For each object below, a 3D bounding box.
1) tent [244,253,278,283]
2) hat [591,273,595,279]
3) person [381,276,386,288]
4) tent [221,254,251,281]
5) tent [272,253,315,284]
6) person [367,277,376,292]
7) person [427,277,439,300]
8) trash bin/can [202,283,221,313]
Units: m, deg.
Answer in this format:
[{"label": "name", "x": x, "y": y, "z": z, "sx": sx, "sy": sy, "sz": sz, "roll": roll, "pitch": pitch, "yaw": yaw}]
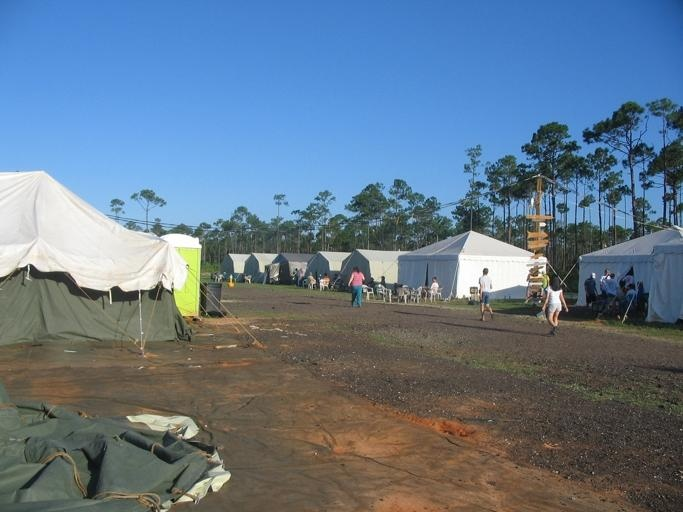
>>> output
[{"label": "tent", "x": -7.147, "y": 0.864, "z": 52.903, "sx": 2.666, "sy": 2.192, "sz": 2.643, "roll": 1, "pitch": -1, "yaw": -35}, {"label": "hat", "x": 9.654, "y": 0.723, "z": 23.099, "sx": 0.183, "sy": 0.220, "sz": 0.195, "roll": 1, "pitch": 4, "yaw": 9}, {"label": "person", "x": 2.383, "y": 1.449, "z": 34.978, "sx": 0.386, "sy": 0.475, "sz": 0.979, "roll": -3, "pitch": -25, "yaw": 6}, {"label": "tent", "x": -10.180, "y": 1.084, "z": 57.127, "sx": 2.417, "sy": 1.760, "sz": 2.390, "roll": 0, "pitch": 4, "yaw": -37}, {"label": "tent", "x": -3.820, "y": 1.132, "z": 46.956, "sx": 2.542, "sy": 2.024, "sz": 2.591, "roll": 0, "pitch": 3, "yaw": -21}, {"label": "person", "x": 1.608, "y": 1.574, "z": 34.646, "sx": 0.666, "sy": 0.745, "sz": 0.689, "roll": 1, "pitch": -5, "yaw": -5}, {"label": "person", "x": 4.434, "y": 1.534, "z": 28.830, "sx": 0.477, "sy": 1.103, "sz": 1.491, "roll": 2, "pitch": 6, "yaw": 9}, {"label": "trash bin/can", "x": -4.039, "y": 1.291, "z": 18.685, "sx": 0.481, "sy": 1.001, "sz": 0.875, "roll": 3, "pitch": 7, "yaw": 20}]
